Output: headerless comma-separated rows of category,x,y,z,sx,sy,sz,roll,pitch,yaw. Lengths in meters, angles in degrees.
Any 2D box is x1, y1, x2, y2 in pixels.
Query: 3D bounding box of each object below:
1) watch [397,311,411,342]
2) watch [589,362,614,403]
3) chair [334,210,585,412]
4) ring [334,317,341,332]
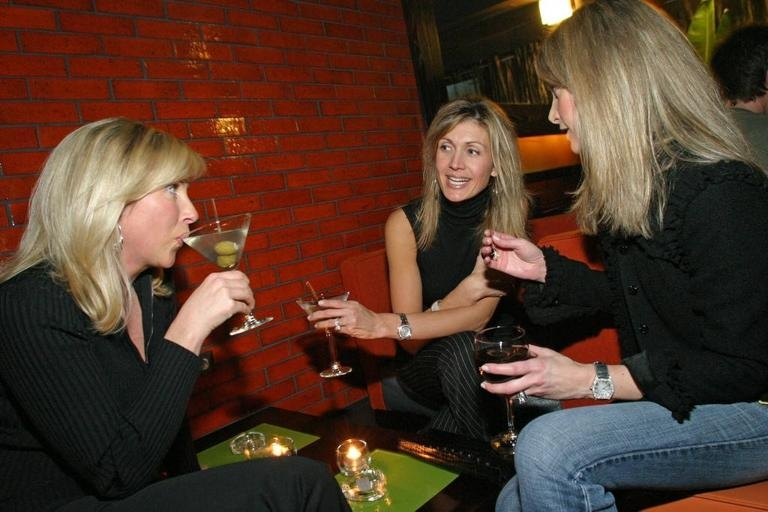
watch,0.091,0.323,2.287,0.081,0.094,0.115,-3,8,-8
watch,0.645,0.373,1.559,0.088,0.084,0.102,0,-6,5
chair,0.415,0.209,3.019,1.603,1.036,1.196,-3,-9,26
ring,-0.189,0.279,2.093,0.034,0.042,0.020,1,9,17
